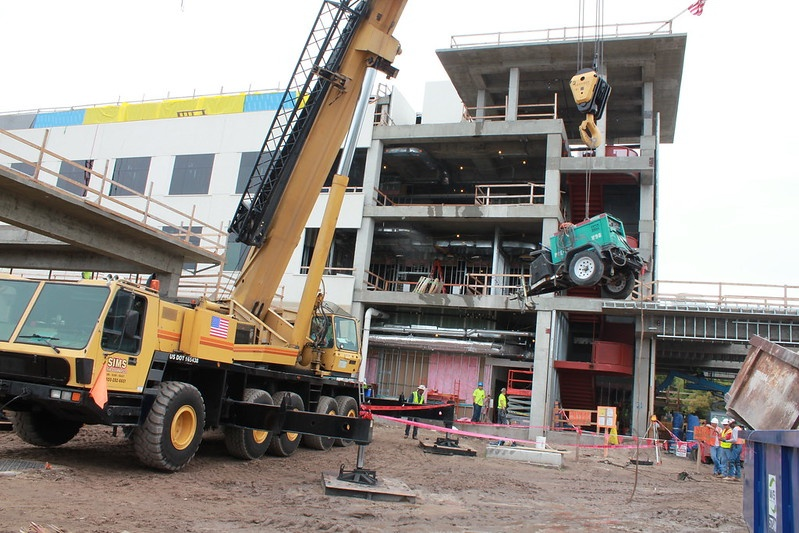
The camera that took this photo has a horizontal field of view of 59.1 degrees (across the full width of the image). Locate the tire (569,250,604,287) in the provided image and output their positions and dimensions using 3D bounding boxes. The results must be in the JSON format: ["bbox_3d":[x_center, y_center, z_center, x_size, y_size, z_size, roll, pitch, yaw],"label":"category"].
[{"bbox_3d":[6.459,0.002,24.361,0.352,0.968,0.963,3,-40,-43],"label":"tire"}]

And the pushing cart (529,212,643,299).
[{"bbox_3d":[6.594,-0.130,25.891,4.535,2.075,2.726,-13,-26,43],"label":"pushing cart"}]

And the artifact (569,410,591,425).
[{"bbox_3d":[8.292,6.889,32.285,1.325,0.758,0.678,1,-19,17],"label":"artifact"}]

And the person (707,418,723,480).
[{"bbox_3d":[10.935,6.167,24.231,0.497,1.768,1.312,7,-4,24],"label":"person"}]

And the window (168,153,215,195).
[{"bbox_3d":[-11.649,-5.119,39.325,2.909,2.393,0.108,2,-8,15],"label":"window"}]

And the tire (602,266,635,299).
[{"bbox_3d":[8.048,0.515,25.868,0.440,0.979,1.090,-6,29,-45],"label":"tire"}]
